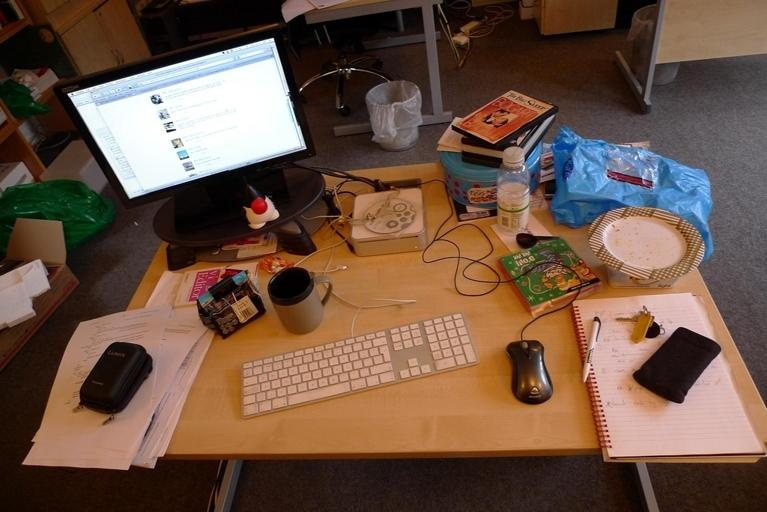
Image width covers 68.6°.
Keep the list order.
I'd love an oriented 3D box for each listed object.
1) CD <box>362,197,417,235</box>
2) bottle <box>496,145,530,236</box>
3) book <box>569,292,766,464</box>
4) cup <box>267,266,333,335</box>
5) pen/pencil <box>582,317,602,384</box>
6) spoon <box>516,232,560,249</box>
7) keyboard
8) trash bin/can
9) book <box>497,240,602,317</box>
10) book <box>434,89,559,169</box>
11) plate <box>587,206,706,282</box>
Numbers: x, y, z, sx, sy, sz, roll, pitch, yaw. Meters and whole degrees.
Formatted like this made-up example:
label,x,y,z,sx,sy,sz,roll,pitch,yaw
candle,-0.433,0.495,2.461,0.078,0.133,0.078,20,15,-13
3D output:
label,x,y,z,sx,sy,sz,roll,pitch,yaw
CD,0.027,-0.154,2.162,0.165,0.033,0.153,-11,59,1
bottle,0.481,-0.226,2.086,0.174,0.309,0.171,-5,28,3
book,0.888,0.376,1.797,0.475,0.186,0.502,-5,45,6
cup,-0.265,0.149,2.005,0.229,0.192,0.147,-27,45,-18
pen/pencil,0.680,0.308,1.844,0.028,0.020,0.238,14,66,20
spoon,0.556,-0.055,2.070,0.115,0.025,0.062,-2,53,3
keyboard,-0.117,0.380,1.808,1.017,0.045,0.286,-14,67,-1
trash bin/can,0.051,-0.891,3.679,0.339,0.423,0.350,-6,44,-9
book,0.567,0.094,1.999,0.277,0.056,0.268,-24,52,-9
book,0.453,-0.500,2.214,0.312,0.127,0.360,24,54,30
plate,0.890,-0.033,1.929,0.313,0.072,0.295,-6,57,8
